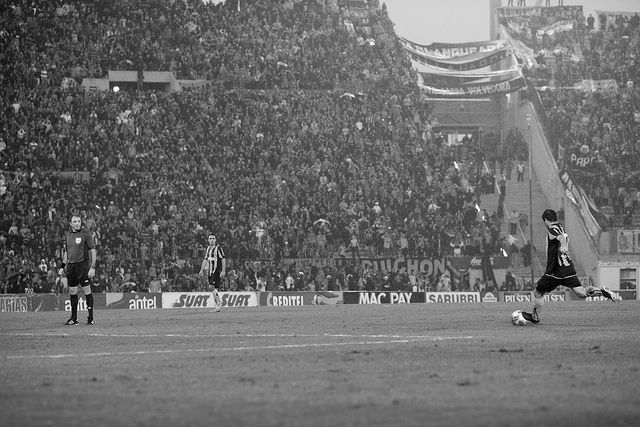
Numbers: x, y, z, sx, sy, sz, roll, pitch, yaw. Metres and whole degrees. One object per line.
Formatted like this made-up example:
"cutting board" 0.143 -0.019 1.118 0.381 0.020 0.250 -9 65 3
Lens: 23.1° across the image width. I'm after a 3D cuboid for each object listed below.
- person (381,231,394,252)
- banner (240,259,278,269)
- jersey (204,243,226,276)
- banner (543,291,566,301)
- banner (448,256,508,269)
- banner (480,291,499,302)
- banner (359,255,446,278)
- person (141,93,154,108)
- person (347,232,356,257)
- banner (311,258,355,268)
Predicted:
"person" 4.821 2.194 112.273 0.870 1.508 0.518 0 -9 -9
"banner" -4.270 3.767 109.900 2.553 0.707 0.343 1 -9 -13
"jersey" -6.441 2.965 94.977 1.126 2.017 0.742 -2 -9 1
"banner" 15.862 5.893 106.268 1.531 1.018 0.788 0 -11 -2
"banner" 11.287 3.745 111.837 4.185 0.859 0.370 0 -9 -7
"banner" 11.713 6.034 108.392 1.293 0.626 0.205 -2 -9 5
"banner" 6.082 3.961 111.395 5.758 1.287 0.484 -1 -9 -4
"person" -13.677 -8.953 124.167 1.119 1.085 0.819 -2 -32 -7
"person" 2.270 2.343 112.124 0.531 1.703 0.785 -1 -9 -3
"banner" 0.866 3.710 110.493 3.009 0.667 0.388 0 -9 -10
